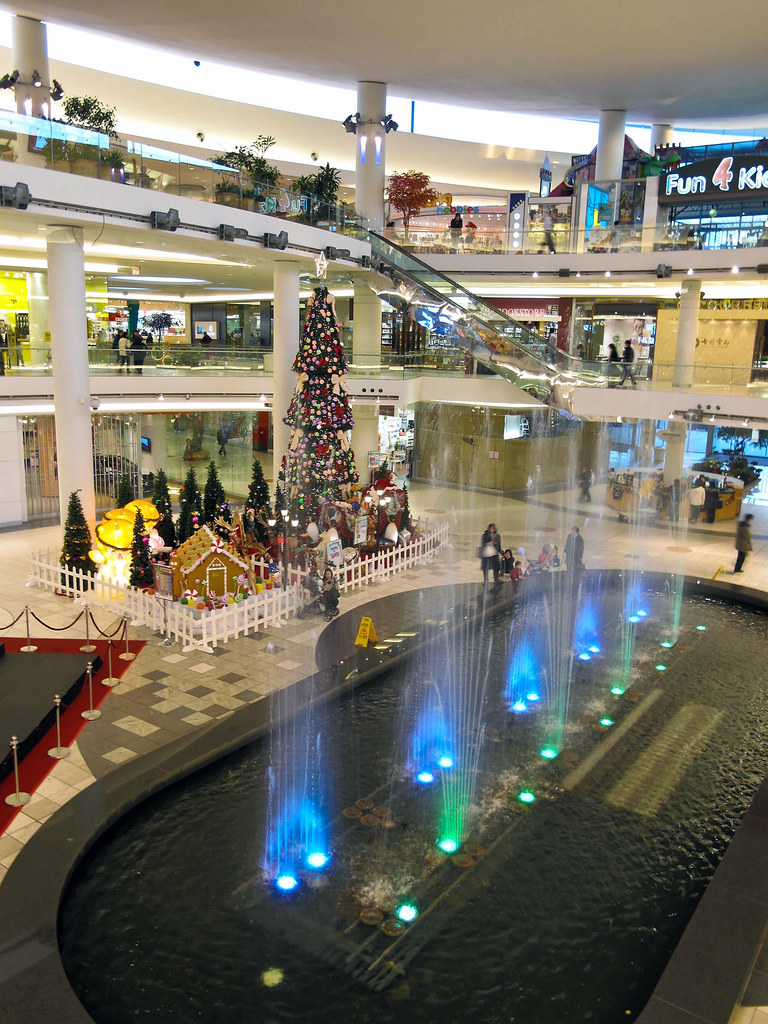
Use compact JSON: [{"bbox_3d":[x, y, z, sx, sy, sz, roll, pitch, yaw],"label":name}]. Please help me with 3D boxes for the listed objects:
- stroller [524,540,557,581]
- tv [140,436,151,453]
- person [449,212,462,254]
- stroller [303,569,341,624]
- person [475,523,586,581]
[{"bbox_3d":[3.446,1.088,17.200,0.467,0.630,1.085,15,30,32],"label":"stroller"},{"bbox_3d":[-7.994,-2.259,26.357,0.081,0.793,0.773,-8,17,-38],"label":"tv"},{"bbox_3d":[2.270,-9.014,25.272,0.452,1.235,0.844,3,11,2],"label":"person"},{"bbox_3d":[-1.080,1.378,13.767,0.680,0.851,0.465,10,13,33],"label":"stroller"},{"bbox_3d":[3.270,0.932,17.682,1.884,1.068,0.512,-8,28,-12],"label":"person"}]
